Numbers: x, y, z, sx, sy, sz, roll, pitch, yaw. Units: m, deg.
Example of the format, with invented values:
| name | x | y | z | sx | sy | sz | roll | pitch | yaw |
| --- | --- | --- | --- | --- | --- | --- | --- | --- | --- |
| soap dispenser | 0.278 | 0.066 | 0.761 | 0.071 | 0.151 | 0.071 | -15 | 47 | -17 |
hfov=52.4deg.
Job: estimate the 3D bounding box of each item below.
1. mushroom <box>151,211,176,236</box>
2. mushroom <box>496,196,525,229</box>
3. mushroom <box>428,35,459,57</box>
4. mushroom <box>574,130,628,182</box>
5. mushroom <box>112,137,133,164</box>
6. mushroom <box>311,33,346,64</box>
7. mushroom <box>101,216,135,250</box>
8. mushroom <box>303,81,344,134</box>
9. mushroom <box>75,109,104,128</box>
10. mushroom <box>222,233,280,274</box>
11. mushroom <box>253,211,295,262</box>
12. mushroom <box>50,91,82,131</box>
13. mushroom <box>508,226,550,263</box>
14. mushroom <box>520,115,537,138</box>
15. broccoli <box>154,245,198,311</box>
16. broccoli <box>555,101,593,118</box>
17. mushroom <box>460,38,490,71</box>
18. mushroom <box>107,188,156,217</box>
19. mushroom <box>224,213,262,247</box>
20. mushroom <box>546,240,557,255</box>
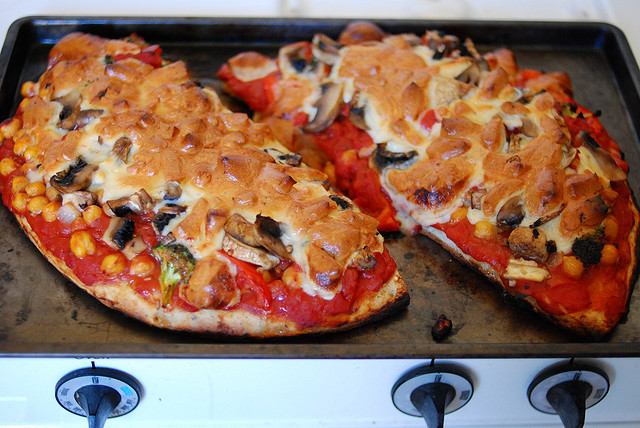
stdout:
| name | x | y | z | sx | sy | sz | roll | pitch | yaw |
| --- | --- | --- | --- | --- | --- | --- | --- | --- | --- |
| mushroom | -0.583 | 0.036 | 2.430 | 0.081 | 0.081 | 0.042 | 2 | 19 | 6 |
| mushroom | 0.742 | -0.002 | 2.522 | 0.090 | 0.123 | 0.044 | -6 | 20 | -16 |
| mushroom | 0.575 | -0.794 | 3.015 | 0.121 | 0.050 | 0.154 | 3 | 47 | -3 |
| mushroom | 1.126 | -0.211 | 2.740 | 0.168 | 0.196 | 0.235 | 7 | 58 | -5 |
| mushroom | -0.776 | -0.243 | 2.531 | 0.072 | 0.096 | 0.023 | 13 | -13 | 0 |
| mushroom | 0.034 | -0.753 | 2.964 | 0.149 | 0.114 | 0.067 | 45 | -11 | -2 |
| mushroom | -0.754 | 0.069 | 2.442 | 0.113 | 0.113 | 0.034 | 32 | 1 | 7 |
| mushroom | 0.031 | -0.480 | 2.898 | 0.063 | 0.218 | 0.160 | 34 | -5 | -42 |
| mushroom | -0.933 | -0.390 | 2.632 | 0.089 | 0.032 | 0.066 | -28 | 44 | -5 |
| mushroom | -0.254 | 0.094 | 2.494 | 0.314 | 0.111 | 0.219 | -1 | 28 | 0 |
| mushroom | -0.178 | 0.088 | 2.394 | 0.172 | 0.040 | 0.131 | 40 | 33 | -22 |
| mushroom | -1.038 | -0.437 | 2.672 | 0.125 | 0.164 | 0.039 | 3 | -23 | 8 |
| mushroom | 0.799 | 0.113 | 2.479 | 0.148 | 0.115 | 0.050 | 15 | 12 | 14 |
| mushroom | 0.865 | -0.355 | 2.676 | 0.062 | 0.083 | 0.021 | 1 | -19 | -8 |
| broccoli | -0.533 | 0.228 | 2.373 | 0.142 | 0.226 | 0.060 | -1 | 3 | 9 |
| broccoli | 1.130 | -0.464 | 2.900 | 0.070 | 0.034 | 0.124 | 5 | 48 | -13 |
| mushroom | 0.713 | -0.718 | 2.966 | 0.188 | 0.090 | 0.049 | 55 | 15 | 30 |
| mushroom | -0.691 | -0.051 | 2.468 | 0.205 | 0.087 | 0.155 | 0 | 27 | 3 |
| mushroom | -0.283 | 0.064 | 2.381 | 0.137 | 0.098 | 0.067 | 14 | 24 | 36 |
| mushroom | 0.884 | 0.128 | 2.475 | 0.043 | 0.048 | 0.013 | 1 | -9 | -13 |
